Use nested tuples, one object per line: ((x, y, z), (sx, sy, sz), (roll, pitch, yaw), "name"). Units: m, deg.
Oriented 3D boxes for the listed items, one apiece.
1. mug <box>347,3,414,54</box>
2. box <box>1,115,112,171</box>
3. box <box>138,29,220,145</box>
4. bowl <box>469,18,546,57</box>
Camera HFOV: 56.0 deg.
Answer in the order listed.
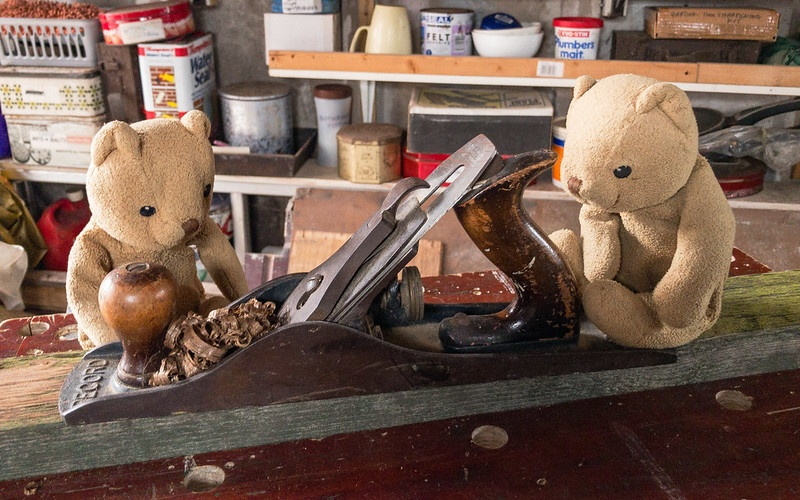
((-0.047, -0.943, 3.227), (0.193, 0.190, 0.137), (-2, 27, -3), "mug")
((-1.627, -0.508, 3.553), (0.421, 0.173, 0.398), (-4, 12, -25), "box")
((-1.023, -0.755, 3.500), (0.279, 0.438, 0.248), (9, 31, 18), "box")
((0.469, -0.879, 3.183), (0.202, 0.098, 0.184), (-1, 8, 0), "bowl")
